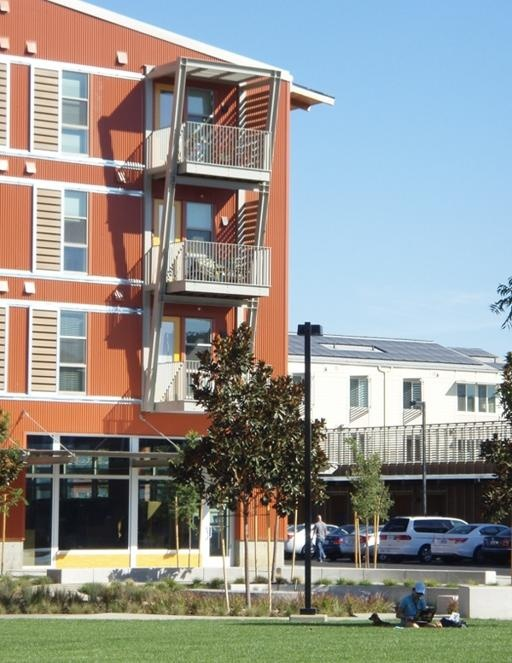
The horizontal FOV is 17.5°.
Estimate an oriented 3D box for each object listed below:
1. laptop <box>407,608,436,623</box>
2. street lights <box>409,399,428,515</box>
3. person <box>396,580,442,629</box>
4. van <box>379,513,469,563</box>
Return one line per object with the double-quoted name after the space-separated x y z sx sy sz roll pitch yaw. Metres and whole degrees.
2.816 4.999 28.333 0.346 0.291 0.282 6 17 -30 "laptop"
6.173 5.129 63.845 0.568 4.500 0.793 2 -10 -17 "street lights"
2.720 4.821 28.349 0.673 0.912 0.534 1 0 44 "person"
5.042 6.486 51.140 1.672 1.952 1.802 -7 -14 34 "van"
